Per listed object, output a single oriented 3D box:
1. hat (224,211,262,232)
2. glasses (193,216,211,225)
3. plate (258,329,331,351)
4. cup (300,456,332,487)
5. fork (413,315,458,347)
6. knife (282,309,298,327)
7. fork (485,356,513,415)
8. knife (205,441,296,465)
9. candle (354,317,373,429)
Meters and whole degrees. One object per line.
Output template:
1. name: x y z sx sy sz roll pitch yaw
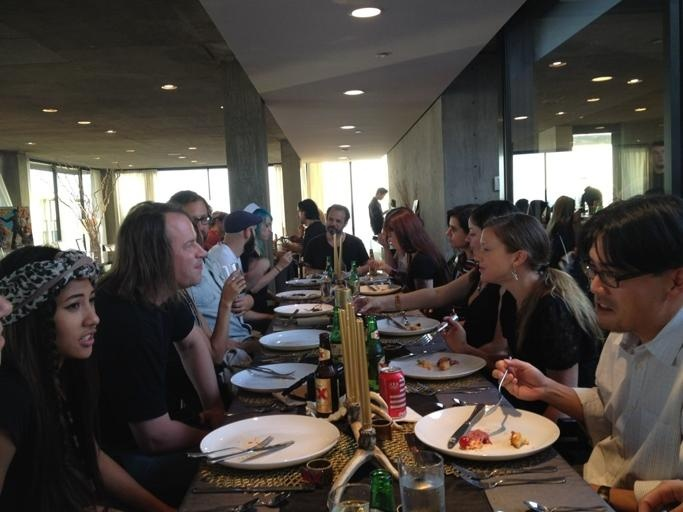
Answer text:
1. hat: -0.717 -0.236 3.721 0.143 0.115 0.219 10 22 44
2. glasses: -0.981 -0.253 3.584 0.133 0.044 0.138 -3 2 20
3. plate: -0.266 0.433 2.658 0.215 0.032 0.221 -1 4 12
4. cup: -0.075 0.621 1.476 0.071 0.045 0.051 -5 5 -9
5. fork: 0.472 0.384 2.593 0.050 0.058 0.439 19 21 20
6. knife: -0.304 0.375 3.099 0.023 0.026 0.172 3 19 15
7. fork: 0.553 0.494 1.812 0.044 0.050 0.312 10 49 1
8. knife: -0.281 0.609 1.579 0.214 0.025 0.031 -5 12 -25
9. candle: 0.059 0.336 1.478 0.032 0.343 0.163 -5 6 0
